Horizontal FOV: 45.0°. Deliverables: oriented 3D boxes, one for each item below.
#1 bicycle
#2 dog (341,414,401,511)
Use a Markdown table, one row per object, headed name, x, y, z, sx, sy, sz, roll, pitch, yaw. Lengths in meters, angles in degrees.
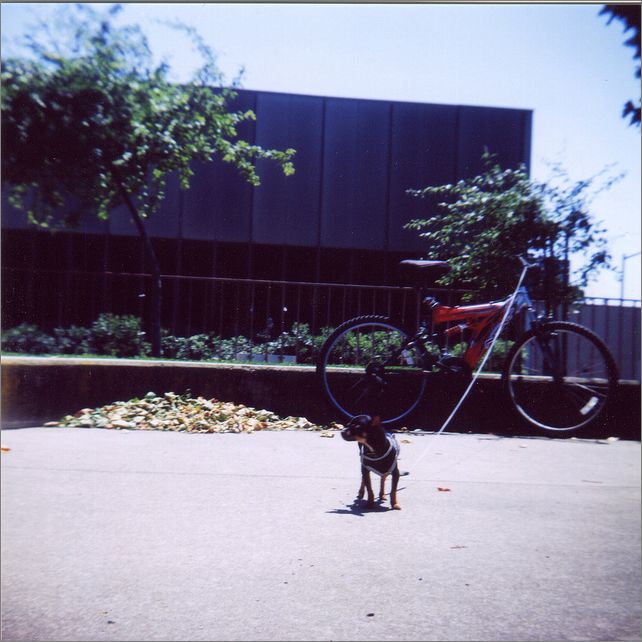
| name | x | y | z | sx | sy | sz | roll | pitch | yaw |
| --- | --- | --- | --- | --- | --- | --- | --- | --- | --- |
| bicycle | 1.146 | 0.089 | 6.664 | 2.483 | 1.592 | 1.243 | 0 | 8 | 5 |
| dog | 0.281 | 0.775 | 4.368 | 0.334 | 0.498 | 0.230 | 2 | 8 | 6 |
